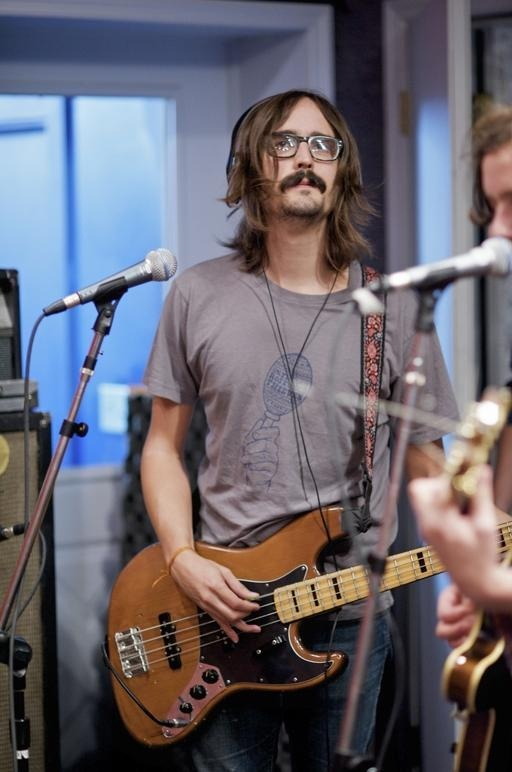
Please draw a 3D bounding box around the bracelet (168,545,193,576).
[{"bbox_3d":[-0.153,0.360,1.744,0.056,0.056,0.014,-7,-15,41],"label":"bracelet"}]

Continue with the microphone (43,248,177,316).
[{"bbox_3d":[-0.295,-0.206,1.719,0.298,0.076,0.088,-30,44,-24],"label":"microphone"}]
